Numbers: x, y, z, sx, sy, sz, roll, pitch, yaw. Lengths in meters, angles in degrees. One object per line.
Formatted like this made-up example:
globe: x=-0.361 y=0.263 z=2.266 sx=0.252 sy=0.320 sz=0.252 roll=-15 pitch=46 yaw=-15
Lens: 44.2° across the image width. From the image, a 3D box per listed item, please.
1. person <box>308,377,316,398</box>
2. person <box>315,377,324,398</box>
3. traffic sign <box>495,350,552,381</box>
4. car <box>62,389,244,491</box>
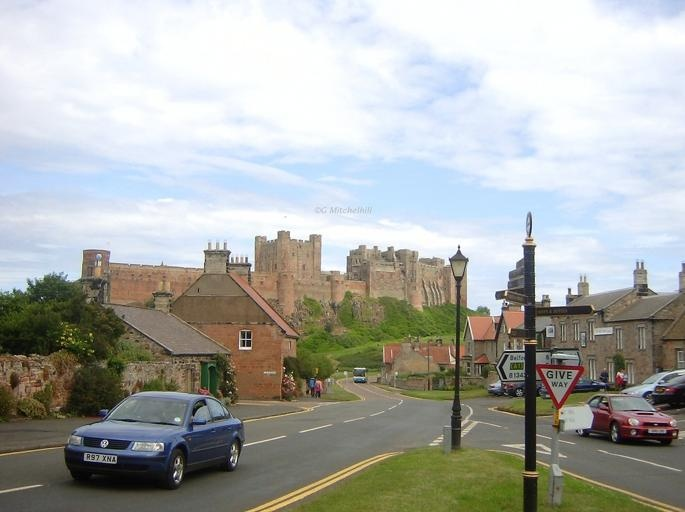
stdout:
person: x=-2.315 y=9.548 z=61.011 sx=0.550 sy=1.247 sz=2.087 roll=3 pitch=-5 yaw=-3
person: x=-1.827 y=9.557 z=60.137 sx=0.458 sy=1.193 sz=1.849 roll=3 pitch=-5 yaw=-4
traffic sign: x=4.352 y=2.642 z=20.200 sx=1.296 sy=0.726 sz=0.130 roll=-1 pitch=4 yaw=-3
car: x=-4.785 y=4.798 z=21.991 sx=2.129 sy=2.211 sz=4.284 roll=-1 pitch=-7 yaw=35
